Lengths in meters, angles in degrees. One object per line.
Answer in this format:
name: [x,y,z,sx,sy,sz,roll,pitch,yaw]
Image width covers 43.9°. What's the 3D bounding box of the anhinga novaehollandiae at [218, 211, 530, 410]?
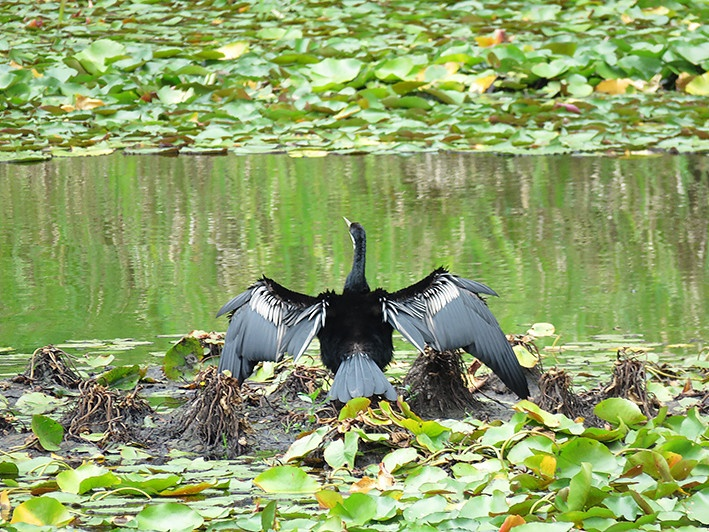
anhinga novaehollandiae: [0.014,0.282,4.873,1.860,0.854,0.820,-5,43,28]
